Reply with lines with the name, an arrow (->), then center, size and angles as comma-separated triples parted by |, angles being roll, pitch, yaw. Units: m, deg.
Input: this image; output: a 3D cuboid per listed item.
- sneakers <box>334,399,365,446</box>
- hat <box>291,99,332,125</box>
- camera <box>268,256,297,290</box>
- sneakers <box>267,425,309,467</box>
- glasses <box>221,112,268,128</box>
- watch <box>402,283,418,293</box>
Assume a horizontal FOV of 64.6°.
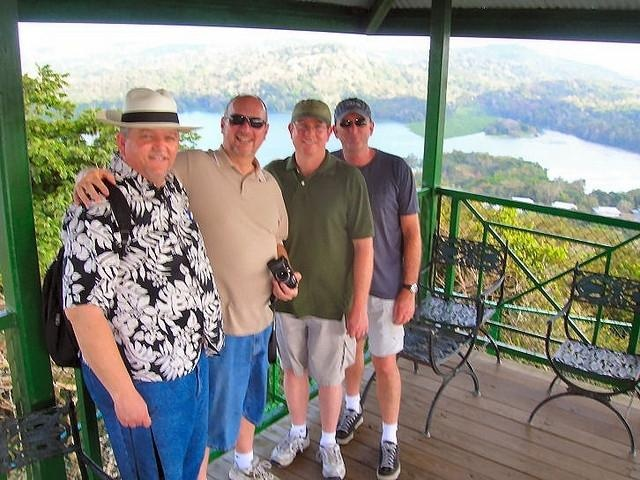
sneakers -> 0.194, 1.284, 3.502 | 0.095, 0.126, 0.279 | 4, 12, 21
hat -> -0.049, -0.737, 2.898 | 0.228, 0.146, 0.129 | 2, 11, -6
camera -> -0.189, 0.204, 2.739 | 0.093, 0.204, 0.139 | -19, 1, 3
sneakers -> -0.201, 1.333, 3.263 | 0.128, 0.135, 0.293 | 22, 21, 24
glasses -> -0.385, -0.624, 2.660 | 0.192, 0.068, 0.059 | 1, 11, -13
watch -> 0.571, 0.302, 3.158 | 0.061, 0.040, 0.066 | -11, 31, 32
